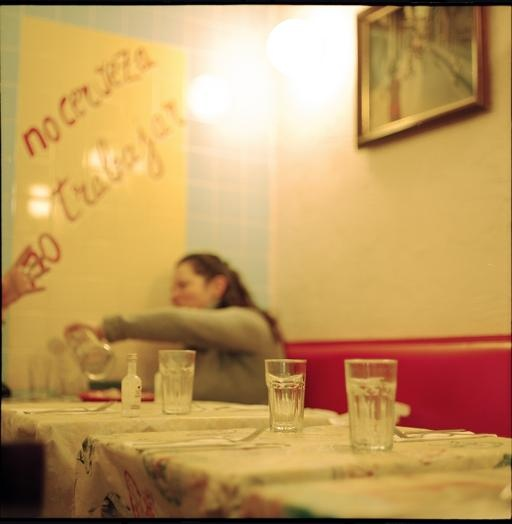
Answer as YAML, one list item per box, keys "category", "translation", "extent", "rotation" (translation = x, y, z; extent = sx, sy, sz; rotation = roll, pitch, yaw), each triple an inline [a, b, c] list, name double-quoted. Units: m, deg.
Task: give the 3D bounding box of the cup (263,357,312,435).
- category: "cup"
  translation: [0.051, 0.227, 1.019]
  extent: [0.075, 0.126, 0.075]
  rotation: [0, -6, 0]

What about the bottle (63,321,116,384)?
- category: "bottle"
  translation: [-0.445, 0.231, 1.698]
  extent: [0.163, 0.061, 0.238]
  rotation: [-26, 10, -14]

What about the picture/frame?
- category: "picture/frame"
  translation: [0.455, -0.484, 1.550]
  extent: [0.317, 0.416, 0.028]
  rotation: [-6, -10, 20]

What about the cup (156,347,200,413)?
- category: "cup"
  translation: [-0.167, 0.254, 1.280]
  extent: [0.076, 0.127, 0.079]
  rotation: [-2, -7, 0]
